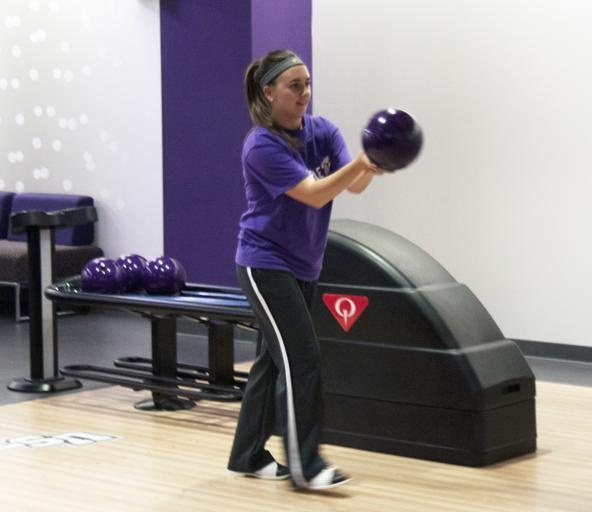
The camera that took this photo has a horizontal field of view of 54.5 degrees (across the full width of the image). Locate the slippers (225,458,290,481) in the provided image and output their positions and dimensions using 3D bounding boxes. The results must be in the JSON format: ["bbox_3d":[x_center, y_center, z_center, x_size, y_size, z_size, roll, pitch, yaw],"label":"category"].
[{"bbox_3d":[-0.147,0.768,2.151,0.201,0.098,0.095,-3,-3,5],"label":"slippers"}]

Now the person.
[{"bbox_3d":[0.006,0.080,1.880,0.394,1.475,0.731,0,-1,-44],"label":"person"}]

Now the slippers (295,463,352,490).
[{"bbox_3d":[0.093,0.751,1.923,0.157,0.060,0.095,-1,-1,-4],"label":"slippers"}]
